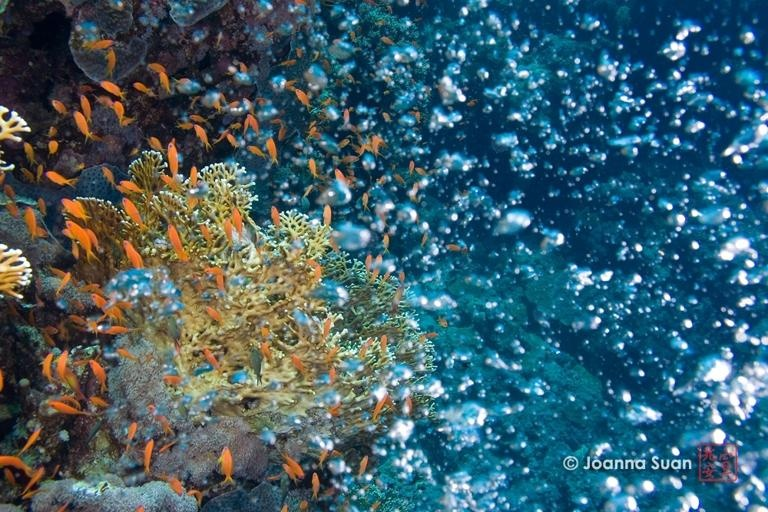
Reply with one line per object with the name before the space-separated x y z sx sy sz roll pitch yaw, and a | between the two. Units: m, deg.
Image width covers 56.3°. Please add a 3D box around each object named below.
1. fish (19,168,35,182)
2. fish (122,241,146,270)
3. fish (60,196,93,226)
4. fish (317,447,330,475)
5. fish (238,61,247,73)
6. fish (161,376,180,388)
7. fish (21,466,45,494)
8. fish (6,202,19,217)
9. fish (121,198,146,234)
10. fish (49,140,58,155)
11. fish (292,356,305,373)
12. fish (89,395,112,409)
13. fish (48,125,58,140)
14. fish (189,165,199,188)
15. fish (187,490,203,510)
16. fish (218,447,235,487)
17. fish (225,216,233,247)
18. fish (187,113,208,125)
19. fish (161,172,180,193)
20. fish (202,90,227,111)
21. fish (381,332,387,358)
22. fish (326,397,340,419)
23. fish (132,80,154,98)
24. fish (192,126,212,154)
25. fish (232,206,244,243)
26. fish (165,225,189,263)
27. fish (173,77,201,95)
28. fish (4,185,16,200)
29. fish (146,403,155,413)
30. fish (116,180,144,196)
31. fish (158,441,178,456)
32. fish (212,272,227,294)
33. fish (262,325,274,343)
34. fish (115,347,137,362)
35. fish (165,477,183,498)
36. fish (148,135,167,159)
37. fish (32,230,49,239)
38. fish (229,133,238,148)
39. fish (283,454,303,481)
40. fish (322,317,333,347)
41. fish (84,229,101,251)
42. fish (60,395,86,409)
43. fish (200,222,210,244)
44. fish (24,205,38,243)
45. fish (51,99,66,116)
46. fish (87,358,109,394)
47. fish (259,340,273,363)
fish | -6.097 -1.382 12.180 0.291 0.103 0.174 29 76 0
fish | -3.938 -0.013 11.155 0.196 0.606 0.176 -10 58 36
fish | -4.914 -0.723 11.448 0.332 0.611 0.127 37 88 33
fish | -1.018 3.358 11.949 0.160 0.257 0.525 9 39 6
fish | -2.534 -3.381 12.853 0.144 0.100 0.177 -6 78 -8
fish | -3.324 1.957 11.160 0.173 0.227 0.126 -2 70 43
fish | -5.296 3.371 10.812 0.087 0.242 0.368 49 67 -30
fish | -6.038 -0.755 11.584 0.136 0.047 0.247 -24 90 21
fish | -3.995 -0.625 11.388 0.521 0.239 0.111 61 40 -23
fish | -5.624 -1.860 12.128 0.132 0.132 0.177 26 112 -7
fish | -1.392 1.729 11.464 0.275 0.134 0.058 46 62 1
fish | -4.439 2.269 11.193 0.257 0.111 0.051 26 63 -2
fish | -5.659 -2.090 12.229 0.155 0.157 0.212 19 82 2
fish | -3.056 -1.280 11.562 0.126 0.408 0.115 -12 56 -37
fish | -2.904 3.734 11.110 0.154 0.236 0.313 -30 82 -12
fish | -2.447 3.218 11.112 0.221 0.297 0.614 7 54 -30
fish | -2.467 -0.383 11.409 0.098 0.110 0.439 -5 116 -7
fish | -3.330 -2.435 12.746 0.395 0.193 0.099 15 47 -38
fish | -3.465 -1.211 11.576 0.179 0.331 0.379 -33 83 -12
fish | -3.045 -2.771 12.752 0.424 0.291 0.241 1 77 -6
fish | 0.002 1.487 12.066 0.085 0.050 0.363 -2 102 -7
fish | -0.821 2.498 11.678 0.188 0.242 0.265 0 80 -17
fish | -4.168 -2.883 12.363 0.146 0.278 0.166 -52 51 22
fish | -3.268 -2.091 12.758 0.214 0.522 0.096 1 50 22
fish | -2.306 -0.523 11.389 0.161 0.134 0.496 -15 84 -35
fish | -3.270 -0.204 11.244 0.179 0.207 0.809 -27 56 22
fish | -3.432 -2.932 12.455 0.242 0.375 0.224 40 116 40
fish | -6.175 -1.054 11.771 0.049 0.111 0.268 -22 79 -42
fish | -3.633 2.355 11.145 0.105 0.032 0.133 -6 78 -8
fish | -4.118 -1.112 11.624 0.263 0.471 0.106 -28 78 11
fish | -3.365 2.944 11.138 0.089 0.364 0.093 21 112 12
fish | -2.604 0.412 11.361 0.171 0.126 0.309 -16 88 25
fish | -1.871 1.220 11.396 0.218 0.102 0.219 12 83 -13
fish | -4.064 1.535 11.286 0.287 0.114 0.068 25 70 -12
fish | -3.185 3.493 10.923 0.406 0.181 0.142 38 82 22
fish | -3.992 -1.954 12.446 0.214 0.480 0.365 -28 82 -11
fish | -5.613 -0.362 11.641 0.152 0.321 0.059 -4 100 3
fish | -2.753 -2.095 13.010 0.190 0.420 0.072 -28 91 -5
fish | -1.499 3.385 11.574 0.129 0.203 0.486 -44 65 11
fish | -0.932 1.209 11.619 0.120 0.058 0.427 10 95 0
fish | -4.619 -0.269 11.328 0.115 0.237 0.425 -5 99 13
fish | -4.860 2.256 11.158 0.270 0.196 0.098 30 65 -8
fish | -2.867 -0.376 11.436 0.094 0.093 0.326 -18 80 14
fish | -5.693 -0.494 11.498 0.111 0.305 0.588 1 98 3
fish | -5.479 -2.512 11.997 0.215 0.438 0.137 -19 92 -14
fish | -4.514 1.897 11.267 0.100 0.242 0.491 -33 85 -28
fish | -1.885 1.499 11.445 0.225 0.467 0.093 -7 47 2
